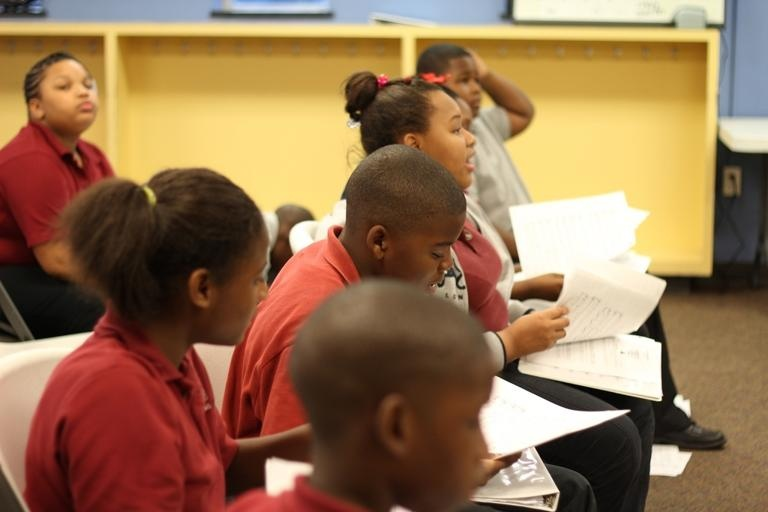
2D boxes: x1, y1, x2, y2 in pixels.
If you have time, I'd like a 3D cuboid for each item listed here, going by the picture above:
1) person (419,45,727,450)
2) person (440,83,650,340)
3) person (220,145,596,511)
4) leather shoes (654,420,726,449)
[{"bbox_3d":[0.647,-0.115,3.117,1.012,1.628,0.615,-3,48,15],"label":"person"},{"bbox_3d":[0.563,-0.254,3.114,0.866,1.351,0.765,-1,13,6],"label":"person"},{"bbox_3d":[0.091,0.073,2.200,0.898,1.018,0.818,-3,13,4],"label":"person"},{"bbox_3d":[1.204,0.707,3.023,0.241,0.120,0.110,-2,3,3],"label":"leather shoes"}]
